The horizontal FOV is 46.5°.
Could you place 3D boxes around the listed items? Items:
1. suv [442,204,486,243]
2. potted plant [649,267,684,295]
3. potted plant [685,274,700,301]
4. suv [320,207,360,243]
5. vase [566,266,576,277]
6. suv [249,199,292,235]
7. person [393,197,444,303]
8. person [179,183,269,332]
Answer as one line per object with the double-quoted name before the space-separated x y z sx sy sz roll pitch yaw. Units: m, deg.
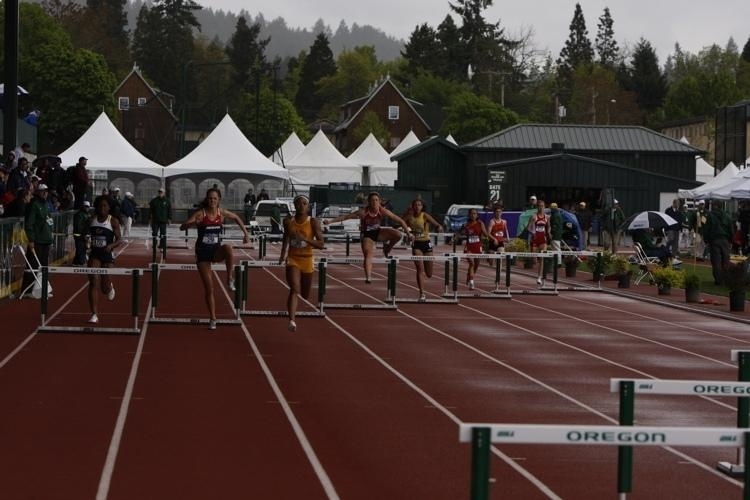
"suv" 4.624 -1.451 47.356 1.628 1.754 3.296 -1 0 -7
"potted plant" 8.512 0.917 25.518 0.696 0.884 0.765 1 -3 -3
"potted plant" 8.671 1.051 23.848 0.387 0.726 0.571 3 5 23
"suv" -1.821 -1.497 47.554 1.472 1.387 2.486 0 0 -3
"vase" 7.021 0.819 31.102 0.268 0.239 0.292 0 -2 -7
"suv" -5.794 -1.815 46.828 1.803 1.947 3.415 1 9 7
"person" 1.351 -0.024 22.687 0.860 2.660 1.238 0 1 -32
"person" -3.152 -0.080 17.513 1.110 3.224 1.408 0 1 -35
